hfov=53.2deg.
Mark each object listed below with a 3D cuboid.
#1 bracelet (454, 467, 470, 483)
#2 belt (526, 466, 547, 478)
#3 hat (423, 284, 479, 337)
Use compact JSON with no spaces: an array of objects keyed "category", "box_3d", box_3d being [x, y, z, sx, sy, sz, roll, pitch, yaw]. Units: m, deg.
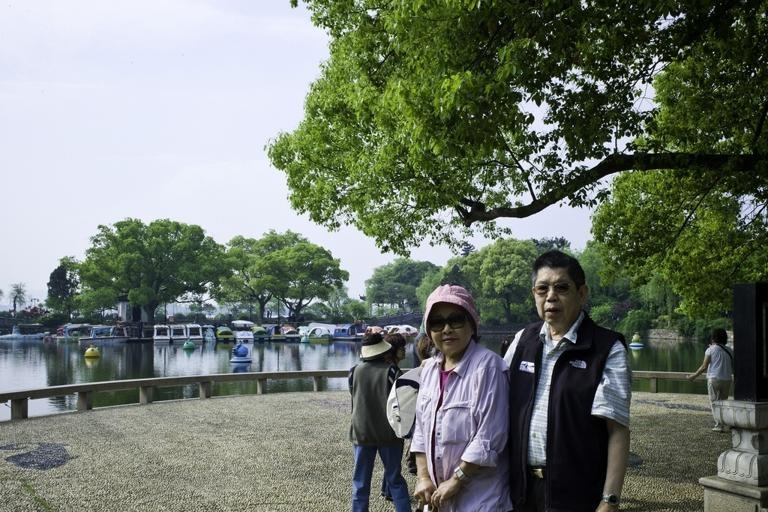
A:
[{"category":"bracelet","box_3d":[0.900,2.565,8.919,0.119,0.184,0.182,-40,-19,-5]},{"category":"belt","box_3d":[1.775,2.531,8.894,0.142,0.127,0.067,3,0,41]},{"category":"hat","box_3d":[0.831,0.618,9.321,0.583,0.499,0.625,-7,-47,10]}]
